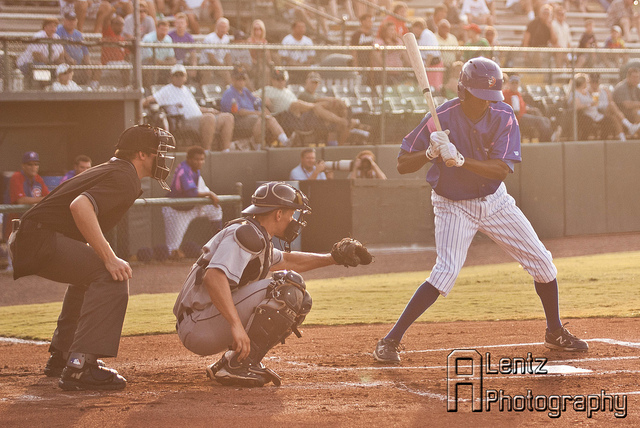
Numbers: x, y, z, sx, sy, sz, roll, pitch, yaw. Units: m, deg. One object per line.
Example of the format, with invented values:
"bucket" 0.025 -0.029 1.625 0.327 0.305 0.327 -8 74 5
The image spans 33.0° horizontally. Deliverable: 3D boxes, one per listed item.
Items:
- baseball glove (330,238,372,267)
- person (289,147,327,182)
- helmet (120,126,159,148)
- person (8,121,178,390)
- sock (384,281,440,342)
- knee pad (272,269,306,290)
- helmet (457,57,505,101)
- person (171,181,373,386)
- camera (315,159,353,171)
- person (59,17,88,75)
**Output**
"baseball glove" 0.309 0.418 11.317 0.382 0.262 0.172 3 21 8
"person" -0.251 -0.829 18.385 0.521 0.786 0.458 -11 18 -42
"helmet" -1.879 -0.784 11.103 0.382 0.211 0.088 -3 13 -10
"person" -2.363 0.447 11.032 1.624 2.611 0.793 -3 13 -8
"sock" 0.983 1.048 11.658 0.583 0.658 0.168 -1 13 2
"knee pad" -0.361 0.674 11.070 0.266 0.110 0.199 1 -11 41
"helmet" 1.761 -1.431 11.495 0.417 0.373 0.503 -5 22 -25
"person" -0.781 0.743 10.973 1.401 2.040 0.589 -3 13 -8
"camera" 0.244 -0.846 18.597 0.580 0.175 0.216 0 3 14
"person" -3.916 -2.654 17.078 0.394 0.876 0.962 -4 13 -13
